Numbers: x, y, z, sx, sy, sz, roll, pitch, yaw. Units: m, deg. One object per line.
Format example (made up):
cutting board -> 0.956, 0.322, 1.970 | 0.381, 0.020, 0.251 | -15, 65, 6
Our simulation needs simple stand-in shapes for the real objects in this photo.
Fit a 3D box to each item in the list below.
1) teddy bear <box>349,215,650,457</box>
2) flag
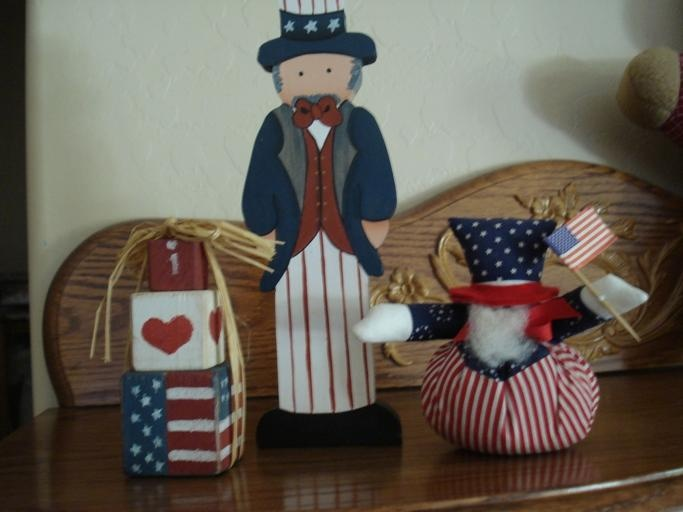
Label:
teddy bear -> 0.300, 0.162, 1.652 | 0.408, 0.385, 0.374 | 27, 45, 34
flag -> 0.459, -0.031, 1.673 | 0.130, 0.127, 0.033 | -37, 5, -8
